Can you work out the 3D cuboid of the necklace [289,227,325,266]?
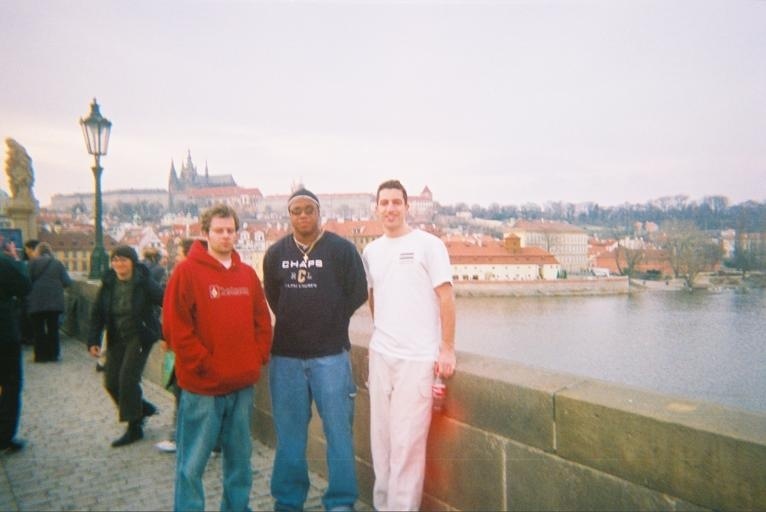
[{"bbox_3d":[-0.817,-0.097,6.451,0.229,0.335,0.081,-2,-14,3],"label":"necklace"}]

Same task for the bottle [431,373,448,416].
[{"bbox_3d":[0.550,1.371,6.172,0.123,0.361,0.152,5,0,22],"label":"bottle"}]
